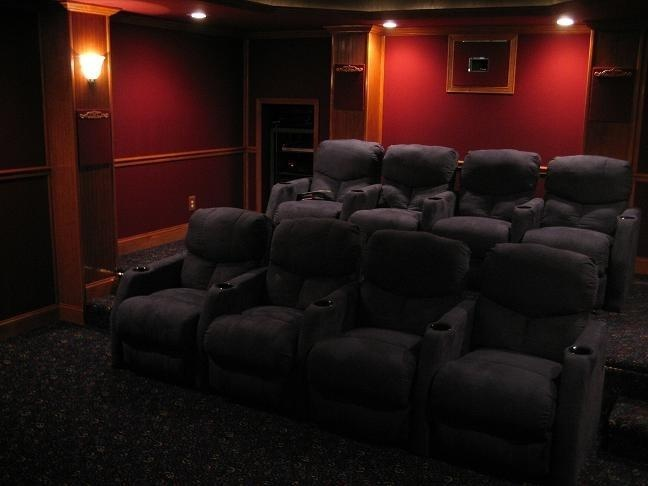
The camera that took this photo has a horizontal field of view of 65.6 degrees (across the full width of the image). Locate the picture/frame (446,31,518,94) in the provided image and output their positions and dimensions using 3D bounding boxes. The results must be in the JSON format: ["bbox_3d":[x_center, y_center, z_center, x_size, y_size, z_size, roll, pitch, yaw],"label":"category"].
[{"bbox_3d":[1.995,-2.266,6.222,0.801,0.651,0.063,5,10,18],"label":"picture/frame"}]

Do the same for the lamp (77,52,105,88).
[{"bbox_3d":[-2.110,-1.618,4.615,0.084,0.287,0.278,8,17,19],"label":"lamp"}]
